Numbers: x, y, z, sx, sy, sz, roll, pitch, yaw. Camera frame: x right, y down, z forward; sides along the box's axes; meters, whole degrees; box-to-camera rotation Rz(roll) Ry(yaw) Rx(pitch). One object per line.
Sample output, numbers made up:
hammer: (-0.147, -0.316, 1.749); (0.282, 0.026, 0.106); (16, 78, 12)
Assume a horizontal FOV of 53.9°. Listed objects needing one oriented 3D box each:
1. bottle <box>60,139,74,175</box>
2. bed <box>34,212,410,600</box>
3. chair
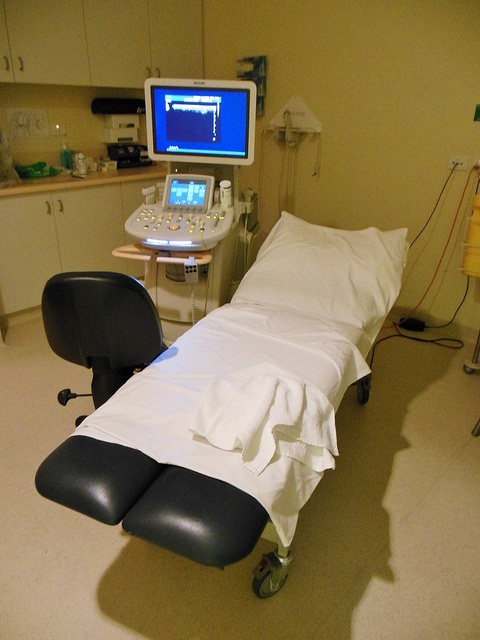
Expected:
bottle: (-1.230, -1.150, 3.350); (0.102, 0.160, 0.250); (-7, 35, -18)
bed: (0.128, 0.189, 1.720); (0.684, 0.717, 1.660); (14, 42, 23)
chair: (-0.370, 0.020, 1.598); (0.383, 0.569, 0.425); (3, 28, 7)
